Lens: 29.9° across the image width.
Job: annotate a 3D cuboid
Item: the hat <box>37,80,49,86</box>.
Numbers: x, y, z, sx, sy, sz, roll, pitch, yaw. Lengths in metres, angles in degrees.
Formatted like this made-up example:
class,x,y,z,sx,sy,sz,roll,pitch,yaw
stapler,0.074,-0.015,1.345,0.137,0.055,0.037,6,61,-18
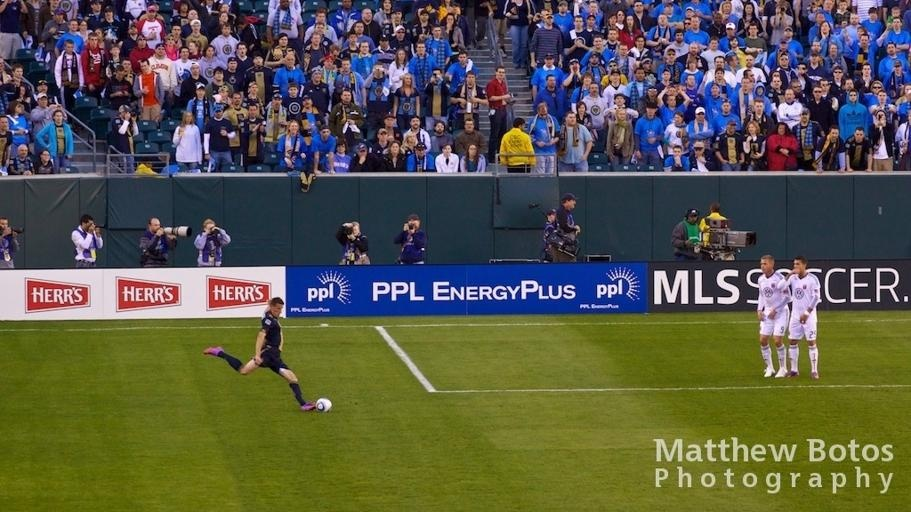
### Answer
class,x,y,z,sx,sy,sz,roll,pitch,yaw
hat,-13.981,-5.982,57.435,0.380,0.171,0.500,0,1,-12

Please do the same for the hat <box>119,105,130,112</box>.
class,x,y,z,sx,sy,sz,roll,pitch,yaw
hat,-11.183,-5.084,57.316,0.286,0.227,0.217,-8,12,-21

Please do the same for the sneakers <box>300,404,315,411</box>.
class,x,y,z,sx,sy,sz,roll,pitch,yaw
sneakers,-4.077,4.054,46.815,0.365,0.147,0.178,-4,-6,10

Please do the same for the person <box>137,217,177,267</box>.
class,x,y,z,sx,sy,sz,roll,pitch,yaw
person,-9.763,-0.562,55.623,1.145,1.549,1.484,-2,2,-11

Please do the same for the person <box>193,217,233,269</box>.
class,x,y,z,sx,sy,sz,roll,pitch,yaw
person,-7.950,-0.552,55.324,1.031,1.482,1.267,-2,2,-9

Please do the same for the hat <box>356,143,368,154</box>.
class,x,y,z,sx,sy,sz,roll,pitch,yaw
hat,-3.175,-3.766,57.720,0.290,0.277,0.374,-1,-6,-9

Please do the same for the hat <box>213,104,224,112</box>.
class,x,y,z,sx,sy,sz,roll,pitch,yaw
hat,-8.018,-5.110,57.366,0.331,0.310,0.285,-2,2,-9

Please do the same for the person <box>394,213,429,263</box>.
class,x,y,z,sx,sy,sz,roll,pitch,yaw
person,-1.525,-0.653,55.571,0.983,1.584,0.855,-1,2,21

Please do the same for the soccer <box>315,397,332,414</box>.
class,x,y,z,sx,sy,sz,roll,pitch,yaw
soccer,-3.622,3.965,46.711,0.402,0.381,0.385,24,33,-8

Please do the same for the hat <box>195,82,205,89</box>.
class,x,y,z,sx,sy,sz,roll,pitch,yaw
hat,-8.683,-5.888,57.657,0.284,0.192,0.273,0,8,1

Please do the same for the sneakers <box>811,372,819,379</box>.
class,x,y,z,sx,sy,sz,roll,pitch,yaw
sneakers,10.401,3.338,49.129,0.162,0.144,0.235,0,-4,5

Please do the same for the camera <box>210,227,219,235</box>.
class,x,y,z,sx,sy,sz,roll,pitch,yaw
camera,-7.811,-0.974,55.124,0.171,0.174,0.307,-1,2,18

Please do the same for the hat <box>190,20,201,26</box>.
class,x,y,z,sx,sy,sz,roll,pitch,yaw
hat,-9.081,-8.220,59.126,0.268,0.132,0.329,-3,-1,-9

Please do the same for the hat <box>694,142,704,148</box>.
class,x,y,z,sx,sy,sz,roll,pitch,yaw
hat,8.352,-3.919,58.087,0.455,0.215,0.267,-2,2,-24

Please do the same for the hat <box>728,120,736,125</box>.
class,x,y,z,sx,sy,sz,roll,pitch,yaw
hat,9.467,-4.680,57.938,0.204,0.191,0.473,0,2,35

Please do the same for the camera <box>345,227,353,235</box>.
class,x,y,z,sx,sy,sz,roll,pitch,yaw
camera,-3.480,-0.917,55.165,0.233,0.177,0.123,-1,2,-2

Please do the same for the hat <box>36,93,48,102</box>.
class,x,y,z,sx,sy,sz,roll,pitch,yaw
hat,-13.870,-5.414,56.941,0.403,0.172,0.542,0,-1,-18

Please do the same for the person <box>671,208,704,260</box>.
class,x,y,z,sx,sy,sz,roll,pitch,yaw
person,7.618,-0.806,56.180,0.914,1.659,1.036,-1,2,7

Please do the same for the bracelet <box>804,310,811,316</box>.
class,x,y,z,sx,sy,sz,roll,pitch,yaw
bracelet,10.055,1.516,48.528,0.144,0.130,0.138,-1,9,-13

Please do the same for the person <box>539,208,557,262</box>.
class,x,y,z,sx,sy,sz,roll,pitch,yaw
person,3.085,-0.771,56.009,0.472,1.652,0.963,-1,2,0

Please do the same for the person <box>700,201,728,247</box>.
class,x,y,z,sx,sy,sz,roll,pitch,yaw
person,8.426,-1.181,55.921,0.830,1.353,1.821,-1,2,8

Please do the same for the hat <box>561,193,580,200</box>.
class,x,y,z,sx,sy,sz,roll,pitch,yaw
hat,3.772,-2.053,55.138,0.435,0.154,0.294,4,2,-18

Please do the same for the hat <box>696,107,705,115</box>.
class,x,y,z,sx,sy,sz,roll,pitch,yaw
hat,8.347,-5.064,58.004,0.339,0.175,0.507,0,0,1

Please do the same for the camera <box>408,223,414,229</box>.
class,x,y,z,sx,sy,sz,roll,pitch,yaw
camera,-1.431,-1.104,55.220,0.173,0.207,0.226,-1,2,-3

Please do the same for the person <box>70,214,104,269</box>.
class,x,y,z,sx,sy,sz,roll,pitch,yaw
person,-12.063,-0.610,55.603,0.898,1.677,0.771,-2,2,-21
